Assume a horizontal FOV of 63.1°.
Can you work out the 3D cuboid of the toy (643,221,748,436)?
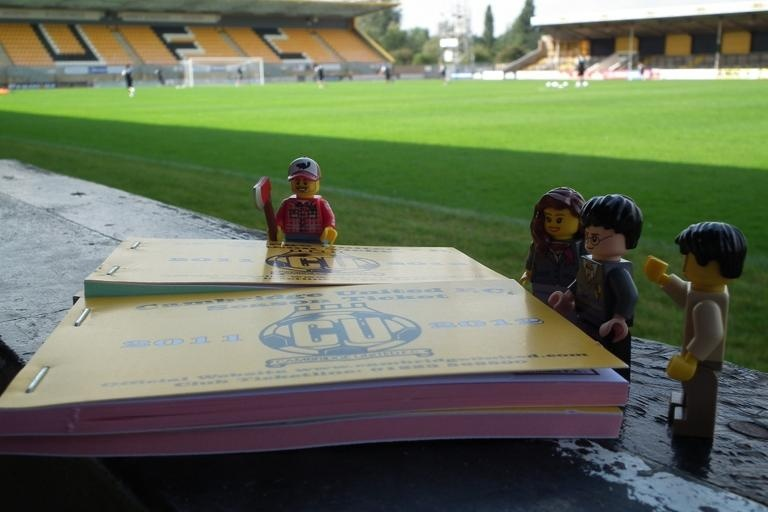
[{"bbox_3d":[0.365,0.079,0.764,0.107,0.216,0.183,9,23,29],"label":"toy"}]
